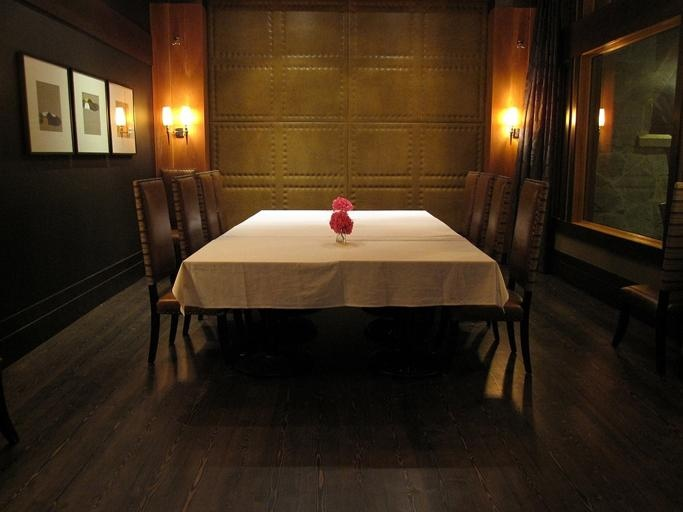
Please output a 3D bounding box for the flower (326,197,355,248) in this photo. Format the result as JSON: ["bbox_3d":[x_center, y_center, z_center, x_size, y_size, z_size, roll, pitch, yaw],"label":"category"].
[{"bbox_3d":[0.007,-0.231,3.102,0.147,0.299,0.156,-2,-8,32],"label":"flower"}]

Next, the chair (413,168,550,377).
[{"bbox_3d":[1.140,0.163,3.620,0.524,1.103,1.703,1,10,8],"label":"chair"}]

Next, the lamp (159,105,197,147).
[{"bbox_3d":[-2.158,-1.725,6.223,0.435,0.501,0.147,0,2,-4],"label":"lamp"}]

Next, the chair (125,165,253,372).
[{"bbox_3d":[-1.240,0.146,3.700,0.500,1.179,1.568,-1,11,-3],"label":"chair"}]
